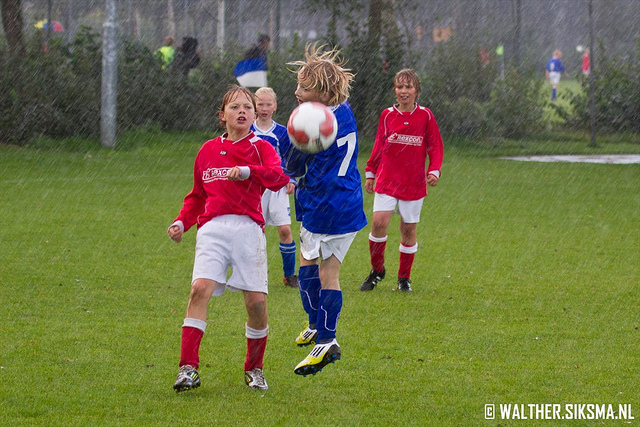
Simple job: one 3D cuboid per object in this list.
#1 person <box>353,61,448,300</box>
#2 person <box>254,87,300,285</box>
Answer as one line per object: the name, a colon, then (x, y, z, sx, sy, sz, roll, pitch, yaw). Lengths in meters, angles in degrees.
person: (1.172, -0.428, 12.360, 1.143, 3.098, 0.795, 3, 2, 18)
person: (-0.631, -0.325, 12.305, 0.878, 2.723, 0.773, -6, 10, -10)
